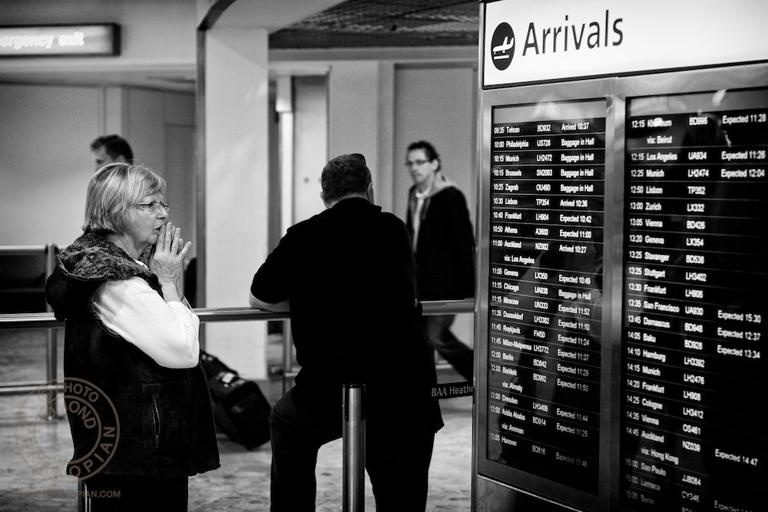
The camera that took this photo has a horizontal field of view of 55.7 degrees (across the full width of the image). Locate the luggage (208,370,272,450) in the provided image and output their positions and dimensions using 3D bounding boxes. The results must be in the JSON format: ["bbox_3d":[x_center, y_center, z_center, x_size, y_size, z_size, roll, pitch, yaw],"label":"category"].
[{"bbox_3d":[-0.885,0.930,4.308,0.248,0.333,0.806,-27,2,-28],"label":"luggage"}]
